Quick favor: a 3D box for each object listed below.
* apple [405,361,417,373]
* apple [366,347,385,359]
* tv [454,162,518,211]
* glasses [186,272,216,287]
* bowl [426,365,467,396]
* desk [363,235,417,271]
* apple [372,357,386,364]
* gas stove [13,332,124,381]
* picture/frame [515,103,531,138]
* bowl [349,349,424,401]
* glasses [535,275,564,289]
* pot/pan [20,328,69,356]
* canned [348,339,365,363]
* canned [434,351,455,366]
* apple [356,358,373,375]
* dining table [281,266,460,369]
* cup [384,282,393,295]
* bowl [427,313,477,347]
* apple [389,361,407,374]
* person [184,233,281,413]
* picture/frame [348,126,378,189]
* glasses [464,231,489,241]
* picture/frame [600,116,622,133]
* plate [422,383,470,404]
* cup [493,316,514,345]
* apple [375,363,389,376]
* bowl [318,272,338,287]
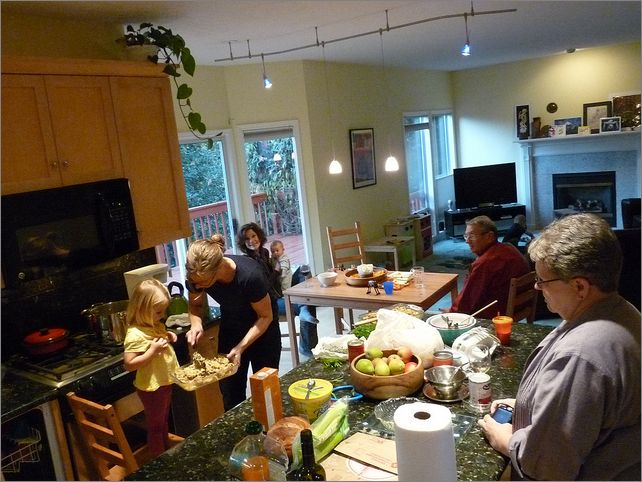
[{"bbox_3d":[0.402,0.569,2.042,0.032,0.035,0.031,7,14,8],"label":"apple"},{"bbox_3d":[0.249,0.531,2.128,0.066,0.049,0.049,-6,26,-11],"label":"apple"},{"bbox_3d":[3.205,-1.033,8.780,1.024,0.656,0.220,-2,13,6],"label":"tv"},{"bbox_3d":[-0.697,0.228,2.679,0.121,0.035,0.121,1,5,9],"label":"glasses"},{"bbox_3d":[0.560,0.615,2.011,0.114,0.095,0.154,-4,11,5],"label":"bowl"},{"bbox_3d":[1.060,0.168,7.100,0.682,0.609,0.670,0,12,28],"label":"desk"},{"bbox_3d":[0.271,0.550,2.090,0.042,0.033,0.034,21,5,25],"label":"apple"},{"bbox_3d":[-1.561,0.743,2.839,0.322,0.079,0.351,7,15,24],"label":"gas stove"},{"bbox_3d":[3.925,-2.312,8.780,0.255,0.653,0.176,-1,10,18],"label":"picture/frame"},{"bbox_3d":[0.309,0.627,2.134,0.366,0.115,0.357,-5,4,0],"label":"bowl"},{"bbox_3d":[0.804,0.148,1.604,0.090,0.025,0.085,1,4,17],"label":"glasses"},{"bbox_3d":[-1.743,0.624,2.846,0.192,0.102,0.181,-1,12,-8],"label":"pot/pan"},{"bbox_3d":[0.170,0.556,2.274,0.099,0.099,0.096,-1,-2,-2],"label":"canned"},{"bbox_3d":[0.576,0.565,2.149,0.082,0.051,0.103,2,10,31],"label":"canned"},{"bbox_3d":[0.202,0.571,2.062,0.051,0.047,0.066,-3,18,-36],"label":"apple"},{"bbox_3d":[0.436,0.457,4.222,1.427,1.221,1.022,1,10,20],"label":"dining table"},{"bbox_3d":[0.569,0.400,3.868,0.098,0.095,0.097,-2,12,0],"label":"cup"},{"bbox_3d":[0.718,0.495,2.559,0.253,0.126,0.257,-3,9,1],"label":"bowl"},{"bbox_3d":[0.334,0.559,1.995,0.059,0.052,0.065,23,-2,-21],"label":"apple"},{"bbox_3d":[-0.550,0.577,2.972,0.641,1.251,0.782,-7,10,-17],"label":"person"},{"bbox_3d":[0.622,-1.295,7.037,0.060,1.040,0.941,1,13,30],"label":"picture/frame"},{"bbox_3d":[1.341,-0.045,3.895,0.204,0.060,0.191,1,-1,-26],"label":"glasses"},{"bbox_3d":[5.128,-2.051,7.998,0.372,0.296,0.049,3,9,29],"label":"picture/frame"},{"bbox_3d":[0.552,0.682,2.010,0.196,0.052,0.116,-1,9,18],"label":"plate"},{"bbox_3d":[0.975,0.473,2.451,0.142,0.135,0.133,-2,13,1],"label":"cup"},{"bbox_3d":[0.266,0.581,2.023,0.052,0.068,0.054,-30,-36,34],"label":"apple"},{"bbox_3d":[0.054,0.359,4.260,0.142,0.078,0.135,-1,0,0],"label":"bowl"}]
